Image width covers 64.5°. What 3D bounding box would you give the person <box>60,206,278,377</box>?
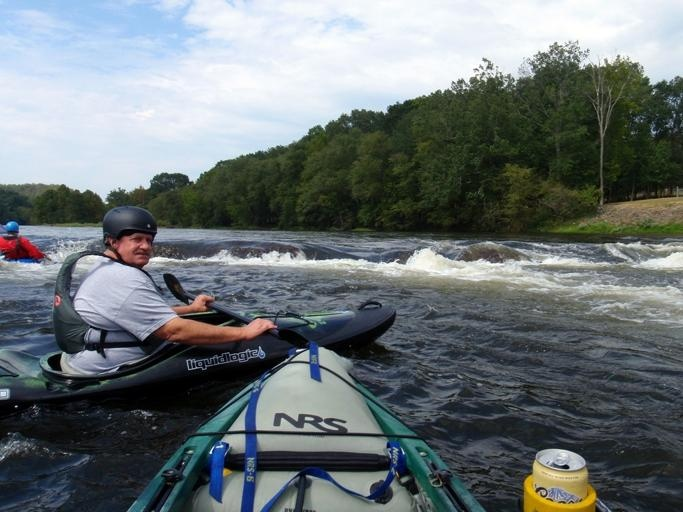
[{"bbox_3d":[-1.584,0.263,4.408,1.184,1.337,0.779,-3,6,-31],"label":"person"}]

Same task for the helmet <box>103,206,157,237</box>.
[{"bbox_3d":[-1.700,-0.267,4.381,0.478,0.172,0.286,4,1,-1],"label":"helmet"}]
